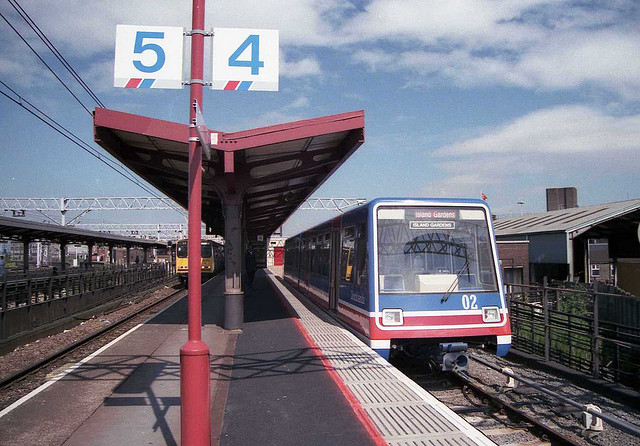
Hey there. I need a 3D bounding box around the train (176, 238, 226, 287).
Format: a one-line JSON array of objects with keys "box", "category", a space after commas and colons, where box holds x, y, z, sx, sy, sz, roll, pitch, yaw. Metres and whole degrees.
[{"box": [-9.415, 2.723, 36.508, 3.667, 3.411, 13.578, -1, -4, -5], "category": "train"}]

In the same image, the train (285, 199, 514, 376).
[{"box": [1.839, 1.703, 12.540, 2.784, 4.053, 5.466, 0, -7, -14], "category": "train"}]
